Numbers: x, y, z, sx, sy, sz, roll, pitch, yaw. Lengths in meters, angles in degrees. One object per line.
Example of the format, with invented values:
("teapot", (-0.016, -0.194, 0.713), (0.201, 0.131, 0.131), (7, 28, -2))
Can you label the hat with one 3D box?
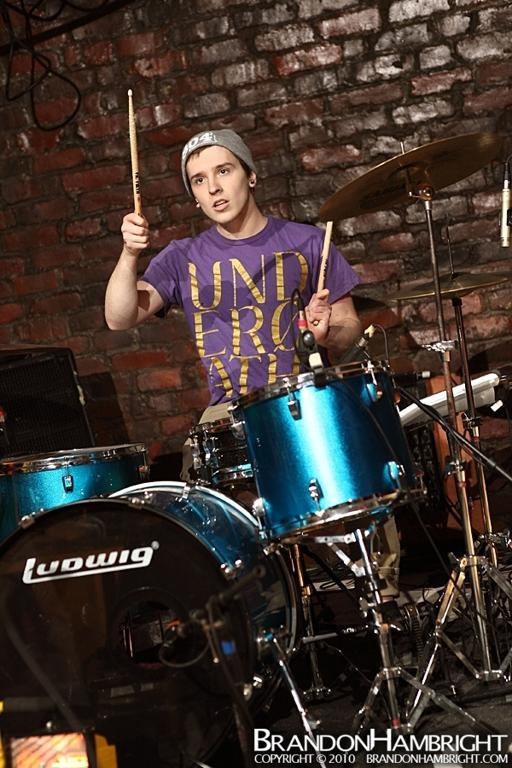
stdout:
("hat", (-0.110, -0.576, 1.895), (0.180, 0.149, 0.149), (-17, 5, 0))

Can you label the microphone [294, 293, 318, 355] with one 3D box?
("microphone", (0.084, -0.125, 1.398), (0.039, 0.143, 0.038), (-10, -27, -5))

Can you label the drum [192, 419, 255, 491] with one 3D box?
("drum", (-0.077, 0.156, 1.598), (0.179, 0.137, 0.157), (-10, -9, 8))

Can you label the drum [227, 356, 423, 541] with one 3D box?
("drum", (0.103, 0.111, 1.451), (0.375, 0.241, 0.344), (-14, -16, -4))

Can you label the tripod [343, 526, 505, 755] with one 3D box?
("tripod", (0.297, 0.466, 1.466), (0.307, 0.355, 0.400), (-17, 5, 14))

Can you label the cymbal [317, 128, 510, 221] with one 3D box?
("cymbal", (0.375, -0.503, 1.816), (0.470, 0.145, 0.347), (-14, 5, 6))
